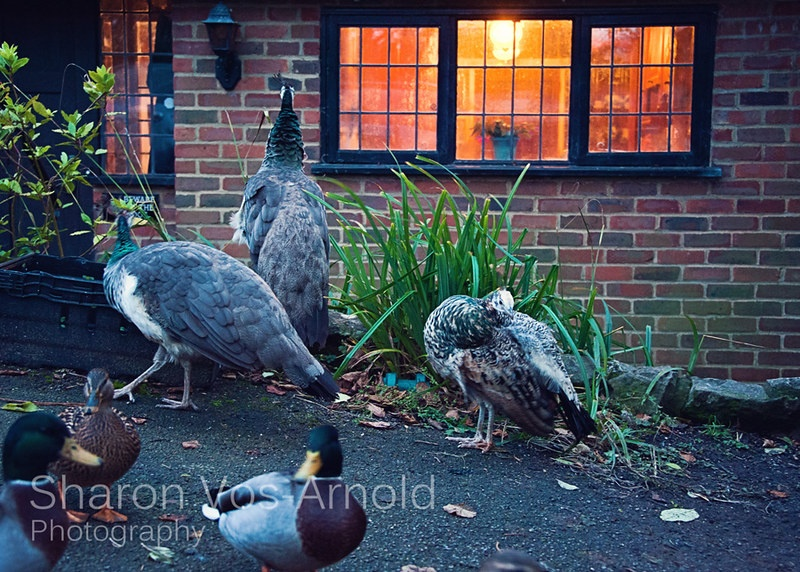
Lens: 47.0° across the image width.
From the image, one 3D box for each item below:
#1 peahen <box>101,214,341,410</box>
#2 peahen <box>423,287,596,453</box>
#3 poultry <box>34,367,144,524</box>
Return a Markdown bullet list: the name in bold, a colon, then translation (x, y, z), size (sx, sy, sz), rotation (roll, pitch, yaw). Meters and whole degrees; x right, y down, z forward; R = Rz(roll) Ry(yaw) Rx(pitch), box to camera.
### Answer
- **peahen**: translation (-1.227, 0.196, 6.054), size (1.890, 1.153, 0.866), rotation (7, 5, 23)
- **peahen**: translation (0.695, 0.532, 5.923), size (1.238, 0.921, 0.801), rotation (8, 8, -11)
- **poultry**: translation (-1.653, 0.854, 5.102), size (0.555, 0.808, 0.901), rotation (6, 1, -14)
